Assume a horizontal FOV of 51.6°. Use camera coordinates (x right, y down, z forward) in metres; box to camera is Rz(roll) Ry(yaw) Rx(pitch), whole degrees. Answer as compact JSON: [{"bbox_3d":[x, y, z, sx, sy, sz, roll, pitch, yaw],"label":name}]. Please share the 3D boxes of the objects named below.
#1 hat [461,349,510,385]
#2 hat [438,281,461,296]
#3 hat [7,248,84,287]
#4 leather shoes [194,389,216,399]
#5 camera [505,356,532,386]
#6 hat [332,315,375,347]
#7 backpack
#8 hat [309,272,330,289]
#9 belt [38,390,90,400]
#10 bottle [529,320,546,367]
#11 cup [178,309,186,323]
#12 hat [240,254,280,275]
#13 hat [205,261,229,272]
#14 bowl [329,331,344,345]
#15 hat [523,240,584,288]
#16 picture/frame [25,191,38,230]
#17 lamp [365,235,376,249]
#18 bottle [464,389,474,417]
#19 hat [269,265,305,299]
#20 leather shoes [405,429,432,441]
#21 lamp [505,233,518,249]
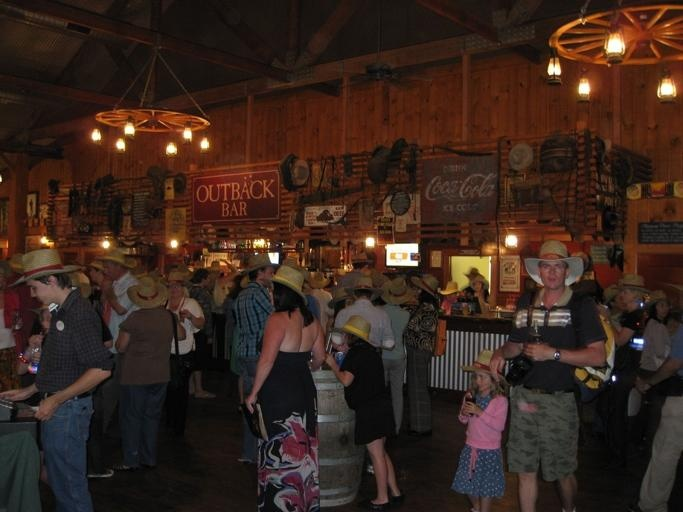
[{"bbox_3d":[1.543,1.144,7.358,0.331,0.184,0.413,9,3,-20],"label":"hat"},{"bbox_3d":[1.953,0.575,12.848,0.295,0.211,0.397,13,-21,-10],"label":"hat"},{"bbox_3d":[-2.891,0.117,6.625,0.472,0.204,0.435,-18,3,20],"label":"hat"},{"bbox_3d":[-2.379,2.378,12.228,0.273,0.108,0.156,-4,-7,22],"label":"leather shoes"},{"bbox_3d":[1.746,1.125,6.912,0.235,0.309,0.338,0,0,18],"label":"camera"},{"bbox_3d":[0.125,0.808,7.929,0.408,0.284,0.272,0,0,-1],"label":"hat"},{"bbox_3d":[2.460,0.978,6.840,0.423,0.877,0.261,0,0,0],"label":"backpack"},{"bbox_3d":[-0.423,0.443,13.065,0.329,0.163,0.466,-1,-6,0],"label":"hat"},{"bbox_3d":[-2.711,1.293,6.725,0.326,0.106,0.340,0,-7,1],"label":"belt"},{"bbox_3d":[1.896,0.739,6.773,0.156,0.346,0.143,-1,2,0],"label":"bottle"},{"bbox_3d":[-2.312,0.862,10.236,0.109,0.155,0.154,2,-5,-39],"label":"cup"},{"bbox_3d":[-1.010,0.074,8.945,0.438,0.209,0.520,-11,2,11],"label":"hat"},{"bbox_3d":[-2.817,0.212,15.975,0.499,0.222,0.602,3,-3,10],"label":"hat"},{"bbox_3d":[-0.044,0.918,7.933,0.131,0.136,0.036,-7,-7,20],"label":"bowl"},{"bbox_3d":[2.153,0.068,7.156,0.446,0.453,0.552,0,0,-6],"label":"hat"},{"bbox_3d":[-11.772,-1.737,26.790,0.221,1.831,1.263,5,-11,-36],"label":"picture/frame"},{"bbox_3d":[0.657,-0.323,15.860,0.230,0.238,0.236,-5,-11,40],"label":"lamp"},{"bbox_3d":[1.338,1.558,7.430,0.052,0.200,0.134,1,-5,32],"label":"bottle"},{"bbox_3d":[-0.546,0.250,7.244,0.320,0.328,0.375,0,0,-5],"label":"hat"},{"bbox_3d":[1.119,2.539,10.104,0.326,0.141,0.136,11,-7,-10],"label":"leather shoes"},{"bbox_3d":[3.522,-0.320,14.510,0.269,0.301,0.294,3,6,-9],"label":"lamp"}]
